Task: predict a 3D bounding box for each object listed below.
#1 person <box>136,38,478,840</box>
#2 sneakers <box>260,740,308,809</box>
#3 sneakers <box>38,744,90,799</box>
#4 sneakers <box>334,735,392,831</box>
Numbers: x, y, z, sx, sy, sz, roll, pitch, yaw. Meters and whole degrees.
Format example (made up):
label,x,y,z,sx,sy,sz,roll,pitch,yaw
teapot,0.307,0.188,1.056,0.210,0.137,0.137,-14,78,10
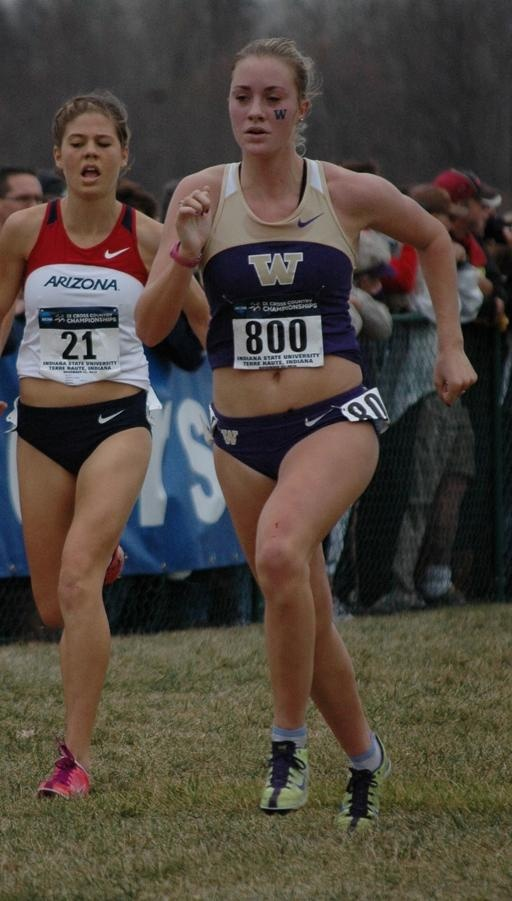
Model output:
label,x,y,z,sx,sy,sz,roll,pitch,yaw
person,0.113,-0.051,2.048,0.762,1.782,0.368,1,-7,-27
sneakers,0.065,0.735,1.971,0.069,0.089,0.196,-2,10,6
sneakers,-0.498,0.854,2.339,0.114,0.135,0.199,-3,-6,9
sneakers,0.255,0.784,2.042,0.070,0.091,0.234,2,44,20
